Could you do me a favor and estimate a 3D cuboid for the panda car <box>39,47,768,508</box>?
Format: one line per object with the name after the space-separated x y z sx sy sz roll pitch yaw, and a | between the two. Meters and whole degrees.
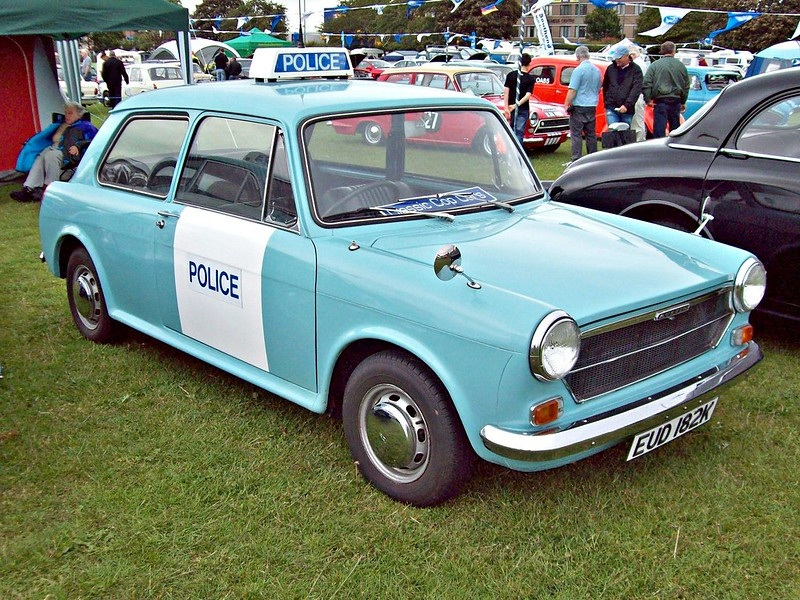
-0.427 -0.298 4.233 4.769 2.107 2.452 16 24 38 | panda car

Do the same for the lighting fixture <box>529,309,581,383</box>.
0.687 0.199 2.587 0.318 0.337 0.100 -2 8 -39 | lighting fixture

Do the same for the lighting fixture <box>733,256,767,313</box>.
2.043 -0.057 3.485 0.260 0.278 0.253 0 -14 29 | lighting fixture

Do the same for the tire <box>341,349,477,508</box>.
0.063 0.670 2.985 0.636 0.709 0.221 25 22 32 | tire

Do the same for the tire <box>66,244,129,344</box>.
-2.456 -0.065 4.679 0.582 0.696 0.211 25 24 32 | tire

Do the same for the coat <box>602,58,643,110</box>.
4.017 -3.983 10.705 0.843 1.032 0.807 11 18 23 | coat

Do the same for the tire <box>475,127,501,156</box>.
0.610 -1.117 4.064 0.195 0.205 0.071 -6 4 -22 | tire
